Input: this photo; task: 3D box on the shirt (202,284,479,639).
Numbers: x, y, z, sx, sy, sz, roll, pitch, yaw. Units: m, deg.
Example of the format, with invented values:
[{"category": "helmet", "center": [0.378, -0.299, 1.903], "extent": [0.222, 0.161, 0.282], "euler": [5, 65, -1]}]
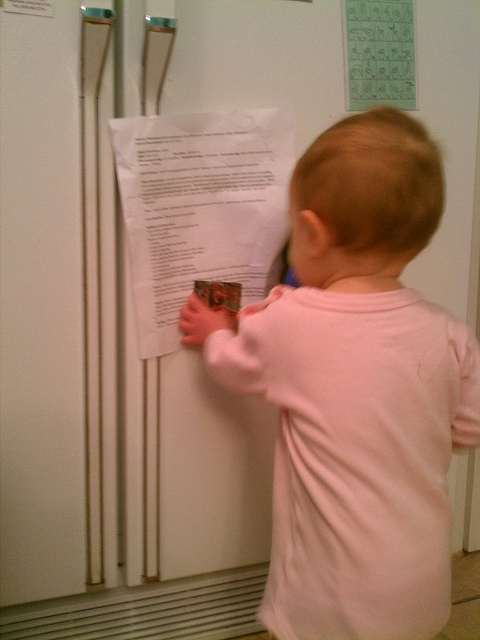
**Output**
[{"category": "shirt", "center": [0.132, 0.174, 0.761], "extent": [0.366, 0.430, 0.229], "euler": [0, 18, 0]}]

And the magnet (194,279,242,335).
[{"category": "magnet", "center": [-0.029, -0.016, 0.856], "extent": [0.083, 0.066, 0.018], "euler": [3, 3, -24]}]
